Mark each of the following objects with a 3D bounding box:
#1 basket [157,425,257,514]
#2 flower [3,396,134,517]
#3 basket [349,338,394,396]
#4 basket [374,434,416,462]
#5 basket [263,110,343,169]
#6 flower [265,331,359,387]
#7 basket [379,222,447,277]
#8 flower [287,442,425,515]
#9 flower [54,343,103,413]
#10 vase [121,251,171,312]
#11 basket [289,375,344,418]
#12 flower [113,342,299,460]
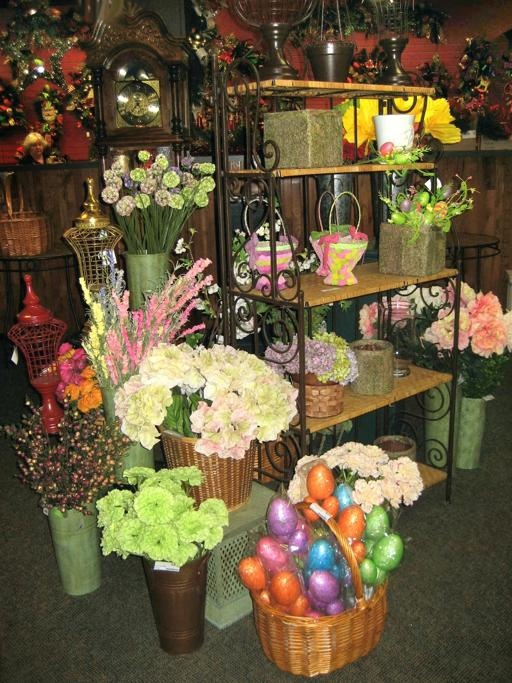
[{"bbox_3d":[-0.147,0.345,1.662,0.266,0.185,0.241,-2,9,-11],"label":"basket"},{"bbox_3d":[-0.543,0.318,1.806,0.398,0.420,0.387,4,6,-13],"label":"flower"},{"bbox_3d":[0.386,0.077,2.047,0.170,0.200,0.195,5,15,29],"label":"basket"},{"bbox_3d":[0.530,0.406,2.179,0.153,0.108,0.151,1,8,10],"label":"basket"},{"bbox_3d":[0.142,-0.579,1.619,0.226,0.213,0.201,0,16,8],"label":"basket"},{"bbox_3d":[0.183,0.058,1.753,0.209,0.123,0.203,-5,22,-42],"label":"flower"},{"bbox_3d":[0.557,-0.330,2.077,0.214,0.181,0.211,8,14,32],"label":"basket"},{"bbox_3d":[0.301,0.338,1.541,0.277,0.128,0.223,-6,10,-36],"label":"flower"},{"bbox_3d":[-0.687,0.145,2.196,0.153,0.265,0.268,-10,14,-24],"label":"flower"},{"bbox_3d":[-0.387,-0.209,2.012,0.213,0.197,0.161,2,13,6],"label":"vase"},{"bbox_3d":[0.182,0.164,1.772,0.145,0.136,0.143,5,13,26],"label":"basket"},{"bbox_3d":[-0.134,0.105,1.524,0.418,0.242,0.355,0,10,-2],"label":"flower"}]
